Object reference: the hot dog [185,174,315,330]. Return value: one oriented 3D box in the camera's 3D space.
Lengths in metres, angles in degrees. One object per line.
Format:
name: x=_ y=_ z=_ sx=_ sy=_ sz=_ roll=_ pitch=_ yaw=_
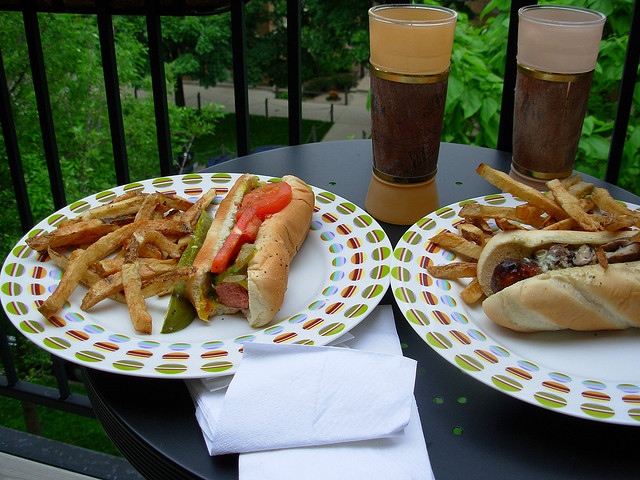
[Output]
hot dog: x=-0.224 y=0.017 z=1.635 sx=0.295 sy=0.163 sz=0.546 roll=2 pitch=38 yaw=11
